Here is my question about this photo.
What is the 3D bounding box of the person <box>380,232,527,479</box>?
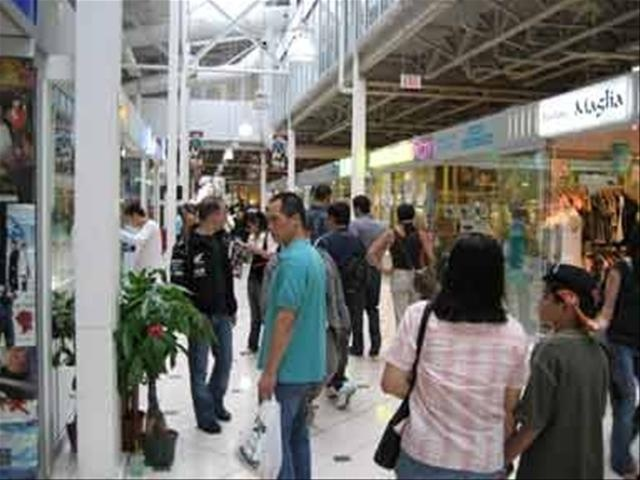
[{"bbox_3d":[0.606,0.538,2.603,0.626,1.123,0.229,-1,-2,19],"label":"person"}]

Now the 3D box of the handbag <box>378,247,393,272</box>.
[{"bbox_3d":[0.530,0.173,4.703,0.142,0.167,0.139,4,4,40],"label":"handbag"}]

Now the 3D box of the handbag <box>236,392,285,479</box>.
[{"bbox_3d":[-0.342,1.093,3.227,0.266,0.454,0.191,-1,-2,13],"label":"handbag"}]

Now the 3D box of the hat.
[{"bbox_3d":[1.254,0.302,2.876,0.279,0.362,0.257,0,-17,15],"label":"hat"}]

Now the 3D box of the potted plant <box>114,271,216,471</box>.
[{"bbox_3d":[-1.169,0.913,4.069,0.728,1.337,0.727,1,3,40],"label":"potted plant"}]

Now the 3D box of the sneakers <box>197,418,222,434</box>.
[{"bbox_3d":[-0.808,1.350,4.211,0.174,0.082,0.082,0,0,29],"label":"sneakers"}]
